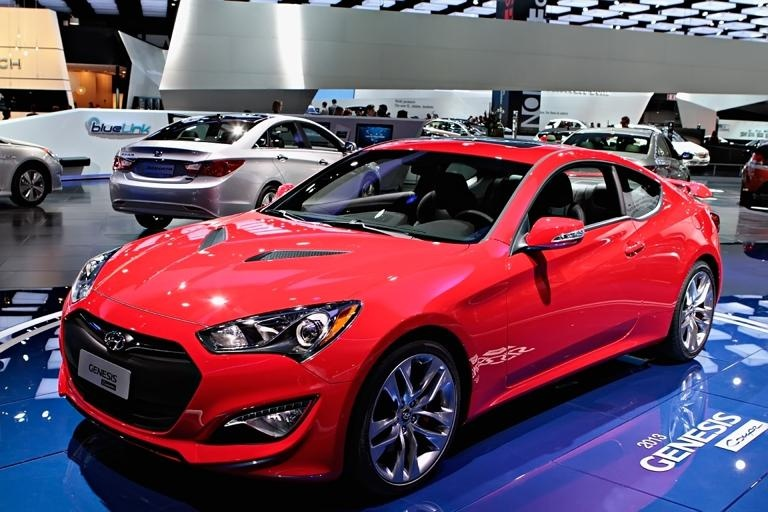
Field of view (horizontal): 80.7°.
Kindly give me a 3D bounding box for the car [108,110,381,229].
[{"bbox_3d":[-2.031,-1.629,8.202,2.060,1.339,4.499,7,14,34],"label":"car"}]
